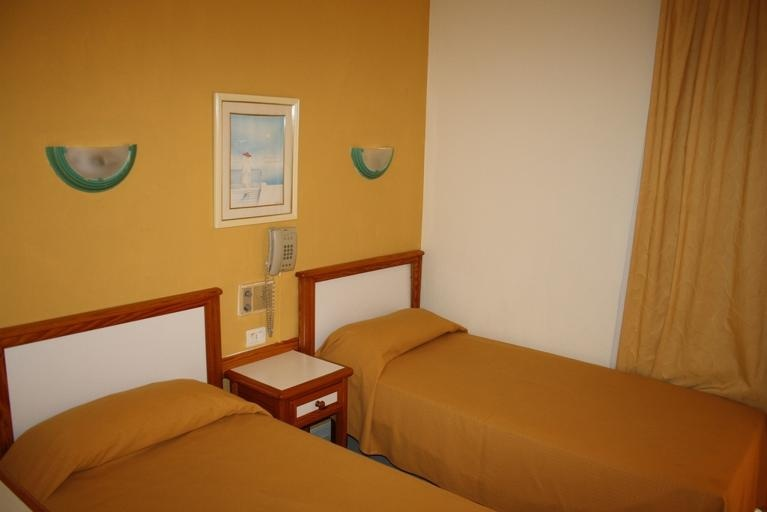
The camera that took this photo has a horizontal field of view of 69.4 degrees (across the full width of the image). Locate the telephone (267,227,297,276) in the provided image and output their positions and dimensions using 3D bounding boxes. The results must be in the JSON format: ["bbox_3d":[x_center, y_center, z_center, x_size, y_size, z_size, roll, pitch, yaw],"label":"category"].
[{"bbox_3d":[-0.701,-0.049,3.774,0.062,0.325,0.270,12,17,38],"label":"telephone"}]

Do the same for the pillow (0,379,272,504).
[{"bbox_3d":[-1.355,0.918,2.954,1.156,0.288,0.370,-10,17,-32],"label":"pillow"}]

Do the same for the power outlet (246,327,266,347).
[{"bbox_3d":[-0.876,0.542,3.770,0.054,0.101,0.115,18,21,39],"label":"power outlet"}]

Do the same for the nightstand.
[{"bbox_3d":[-0.596,0.819,3.747,0.619,0.799,0.600,10,15,37],"label":"nightstand"}]

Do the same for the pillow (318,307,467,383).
[{"bbox_3d":[0.084,0.577,4.058,0.431,0.187,0.738,17,24,40],"label":"pillow"}]

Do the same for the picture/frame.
[{"bbox_3d":[-0.852,-0.655,3.606,0.806,1.108,0.073,-7,12,-44],"label":"picture/frame"}]
